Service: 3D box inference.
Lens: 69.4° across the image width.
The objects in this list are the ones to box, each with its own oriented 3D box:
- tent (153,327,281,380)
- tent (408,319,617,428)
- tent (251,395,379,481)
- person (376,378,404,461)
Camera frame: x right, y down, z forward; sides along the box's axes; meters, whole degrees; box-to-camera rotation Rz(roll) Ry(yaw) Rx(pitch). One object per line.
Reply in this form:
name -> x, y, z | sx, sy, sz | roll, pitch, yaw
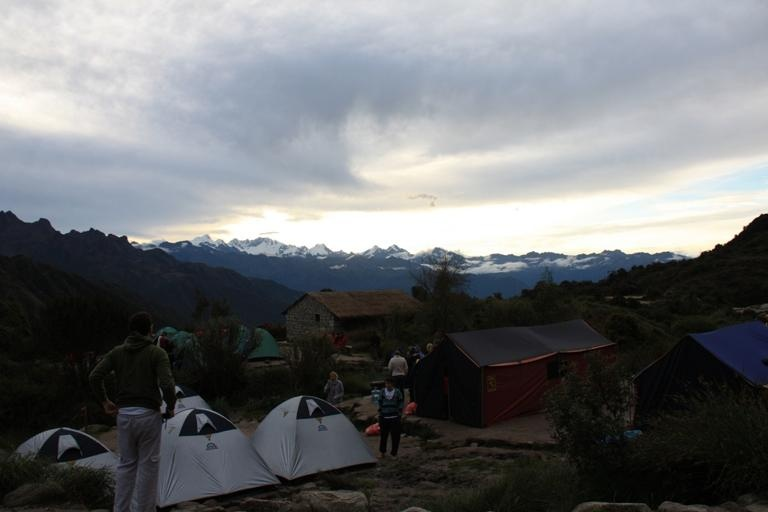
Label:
tent -> -8.737, 5.034, 30.285 | 5.537, 1.838, 3.623 | 8, -13, -43
tent -> 4.913, 4.524, 21.063 | 6.184, 2.471, 3.705 | -1, -3, -34
tent -> -2.151, 5.300, 16.218 | 2.347, 1.422, 2.712 | -3, -2, -27
person -> 0.183, 4.991, 17.109 | 0.831, 2.358, 0.654 | -6, -4, 15
